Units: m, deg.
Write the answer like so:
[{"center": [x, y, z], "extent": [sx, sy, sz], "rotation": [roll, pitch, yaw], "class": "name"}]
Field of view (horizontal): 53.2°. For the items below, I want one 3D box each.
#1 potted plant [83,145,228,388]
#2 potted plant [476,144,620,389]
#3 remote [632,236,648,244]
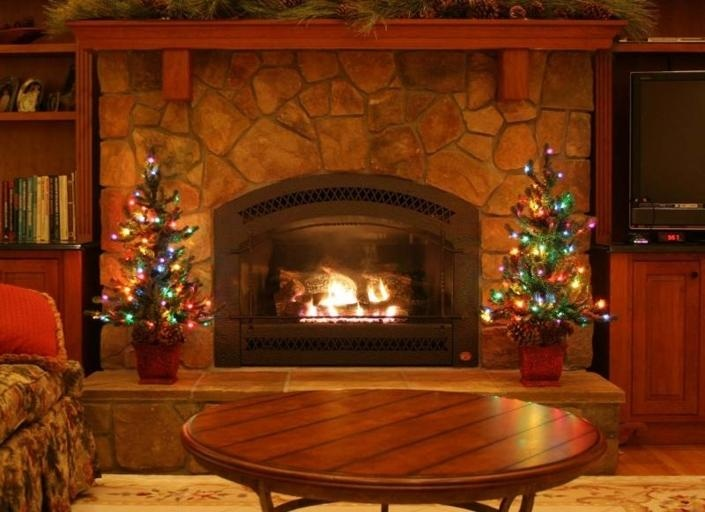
[{"center": [-1.062, 0.054, 3.717], "extent": [0.622, 1.194, 0.551], "rotation": [-2, 12, -10], "class": "potted plant"}, {"center": [1.047, 0.032, 3.720], "extent": [0.676, 1.225, 0.590], "rotation": [5, 13, 20], "class": "potted plant"}, {"center": [1.578, -0.087, 3.849], "extent": [0.077, 0.016, 0.076], "rotation": [-3, 9, -12], "class": "remote"}]
